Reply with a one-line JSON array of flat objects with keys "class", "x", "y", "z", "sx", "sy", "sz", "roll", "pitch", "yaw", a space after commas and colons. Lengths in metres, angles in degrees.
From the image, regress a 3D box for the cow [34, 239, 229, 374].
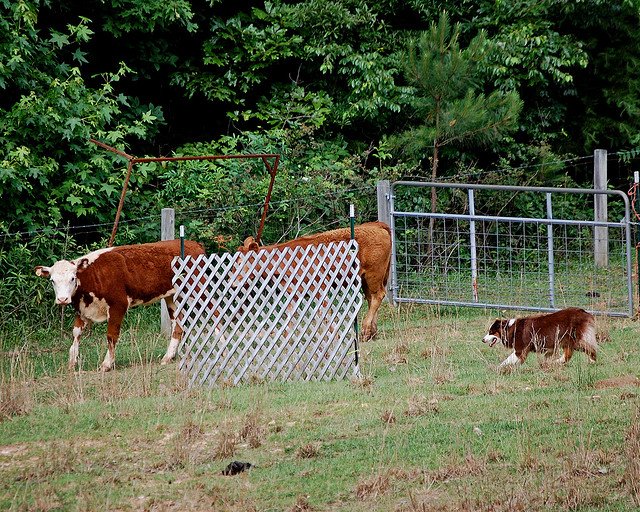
[{"class": "cow", "x": -2.672, "y": 0.737, "z": 15.006, "sx": 2.660, "sy": 1.869, "sz": 0.829, "roll": -2, "pitch": -1, "yaw": -32}]
